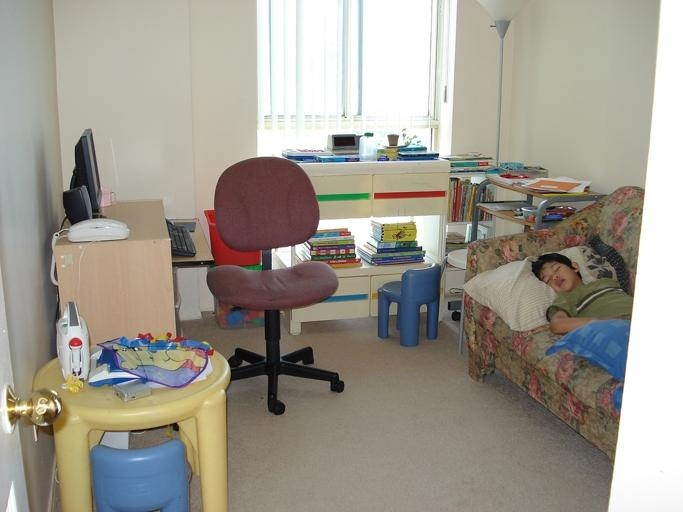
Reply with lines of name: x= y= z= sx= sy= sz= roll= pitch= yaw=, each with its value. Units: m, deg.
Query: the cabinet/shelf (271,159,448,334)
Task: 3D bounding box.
cabinet/shelf: x=0.121 y=-0.068 z=3.621 sx=1.006 sy=1.011 sz=0.407 roll=-4 pitch=15 yaw=-13

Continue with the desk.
desk: x=-0.993 y=0.031 z=2.905 sx=0.592 sy=0.498 sz=1.065 roll=-4 pitch=16 yaw=-16

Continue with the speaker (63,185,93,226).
speaker: x=-1.199 y=-0.236 z=2.562 sx=0.113 sy=0.219 sz=0.148 roll=-10 pitch=30 yaw=-16

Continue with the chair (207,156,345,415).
chair: x=-0.365 y=0.134 z=3.028 sx=0.688 sy=1.309 sz=0.546 roll=-7 pitch=14 yaw=-15

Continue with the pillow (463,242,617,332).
pillow: x=1.067 y=0.128 z=2.955 sx=0.528 sy=0.170 sz=0.471 roll=-25 pitch=38 yaw=-6

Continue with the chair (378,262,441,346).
chair: x=0.446 y=0.324 z=3.718 sx=0.423 sy=0.519 sz=0.254 roll=-1 pitch=13 yaw=13

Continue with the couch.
couch: x=1.000 y=0.357 z=2.643 sx=0.567 sy=0.749 sz=1.049 roll=-10 pitch=24 yaw=-14

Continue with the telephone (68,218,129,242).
telephone: x=-1.021 y=-0.129 z=2.356 sx=0.175 sy=0.062 sz=0.121 roll=-2 pitch=12 yaw=-17
